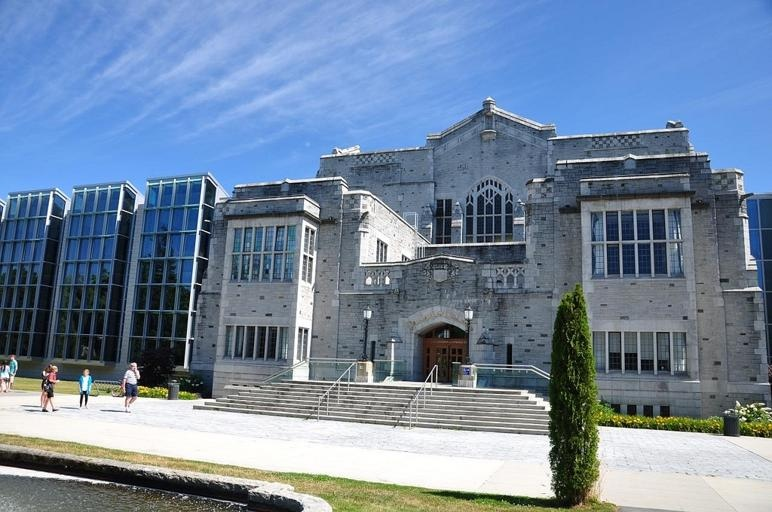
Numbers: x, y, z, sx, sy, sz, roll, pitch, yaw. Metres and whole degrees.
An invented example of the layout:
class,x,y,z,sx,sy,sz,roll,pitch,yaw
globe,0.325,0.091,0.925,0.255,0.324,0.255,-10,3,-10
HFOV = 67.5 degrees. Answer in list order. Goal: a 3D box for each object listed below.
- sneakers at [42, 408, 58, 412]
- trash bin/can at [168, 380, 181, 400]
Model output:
class,x,y,z,sx,sy,sz,roll,pitch,yaw
sneakers,-15.452,7.144,26.683,0.652,0.244,0.199,2,-9,-3
trash bin/can,-12.885,8.174,35.193,0.938,1.130,0.813,1,-13,-4
